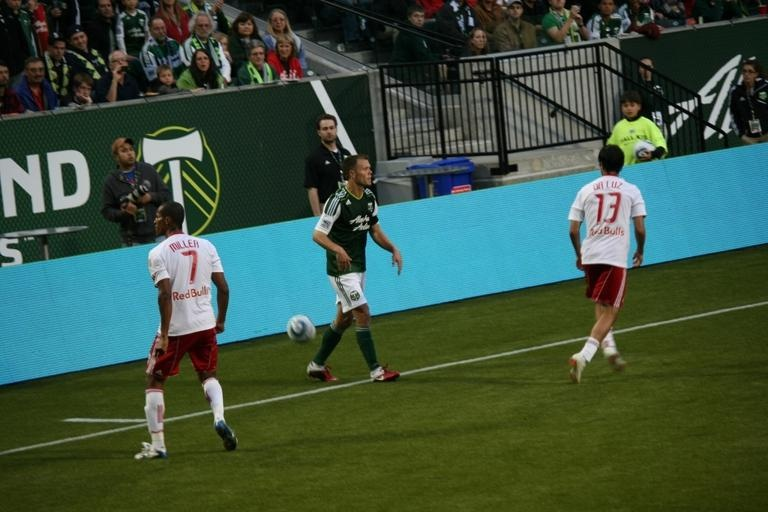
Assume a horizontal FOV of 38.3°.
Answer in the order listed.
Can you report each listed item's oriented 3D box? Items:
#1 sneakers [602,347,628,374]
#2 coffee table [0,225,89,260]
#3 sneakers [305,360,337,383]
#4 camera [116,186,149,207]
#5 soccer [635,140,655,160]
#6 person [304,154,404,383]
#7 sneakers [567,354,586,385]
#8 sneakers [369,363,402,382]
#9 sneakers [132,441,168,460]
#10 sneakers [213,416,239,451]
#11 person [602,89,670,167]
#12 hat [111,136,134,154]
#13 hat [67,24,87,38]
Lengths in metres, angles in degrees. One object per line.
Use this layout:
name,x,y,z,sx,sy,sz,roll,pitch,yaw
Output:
sneakers,2.693,1.194,12.961,0.169,0.202,0.399,13,11,-21
coffee table,-4.745,-0.281,15.446,0.802,0.470,0.777,0,6,18
sneakers,-0.789,1.477,13.980,0.443,0.188,0.182,17,4,-17
camera,-3.424,-0.790,15.045,0.413,0.118,0.111,-32,-37,17
soccer,4.152,-1.663,17.589,0.298,0.233,0.237,24,30,9
person,-0.436,0.176,13.832,1.076,2.770,1.034,-2,14,13
sneakers,2.236,1.304,12.654,0.188,0.356,0.175,-7,14,-4
sneakers,0.034,1.475,13.684,0.426,0.187,0.163,-2,2,2
sneakers,-2.563,2.107,11.960,0.497,0.219,0.147,3,4,6
sneakers,-1.644,1.905,11.869,0.228,0.374,0.161,-22,17,31
person,4.011,-1.948,17.731,1.087,1.289,0.773,6,23,39
hat,-3.585,-1.499,15.169,0.269,0.207,0.348,-7,14,-7
hat,-5.186,-3.765,18.579,0.347,0.217,0.332,-1,12,-6
